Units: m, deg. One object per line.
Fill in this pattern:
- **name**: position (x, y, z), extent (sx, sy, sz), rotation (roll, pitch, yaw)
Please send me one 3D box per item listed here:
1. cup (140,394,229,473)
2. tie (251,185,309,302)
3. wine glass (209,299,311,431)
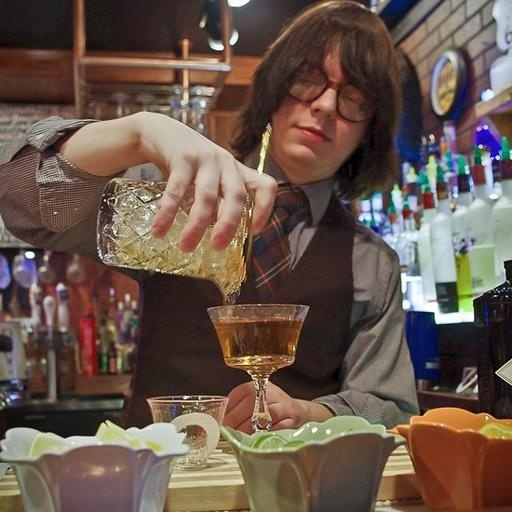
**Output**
- **cup**: position (-0.108, 0.249, 0.793), extent (0.124, 0.099, 0.132), rotation (0, -8, 0)
- **tie**: position (0.061, -0.035, 1.463), extent (0.180, 0.299, 0.071), rotation (25, -9, -27)
- **wine glass**: position (0.005, 0.192, 0.908), extent (0.214, 0.242, 0.196), rotation (-1, -14, -3)
